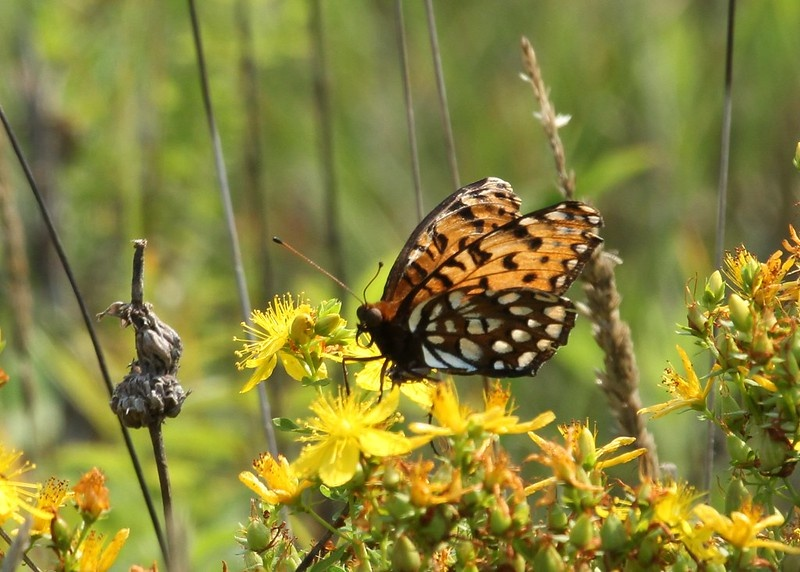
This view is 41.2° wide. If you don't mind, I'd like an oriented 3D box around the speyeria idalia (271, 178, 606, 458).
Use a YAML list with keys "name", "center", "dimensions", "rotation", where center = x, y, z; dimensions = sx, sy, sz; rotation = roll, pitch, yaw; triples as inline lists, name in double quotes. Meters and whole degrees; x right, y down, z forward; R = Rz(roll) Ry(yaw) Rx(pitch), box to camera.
- name: "speyeria idalia"
  center: [0.130, 0.113, 3.881]
  dimensions: [1.467, 1.323, 0.527]
  rotation: [0, 1, -4]

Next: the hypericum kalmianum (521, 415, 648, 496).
- name: "hypericum kalmianum"
  center: [0.564, 0.480, 3.254]
  dimensions: [0.273, 0.343, 0.261]
  rotation: [1, 5, 0]
